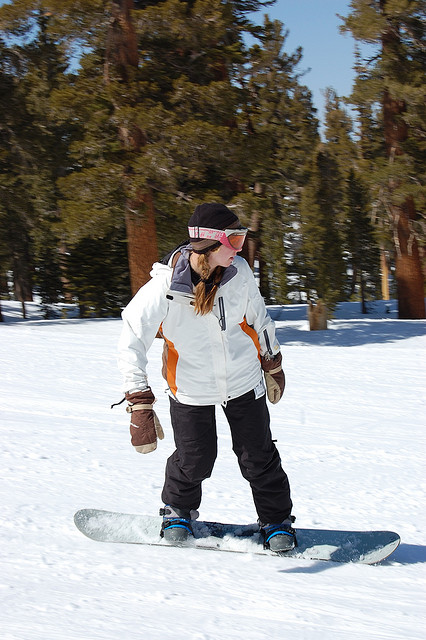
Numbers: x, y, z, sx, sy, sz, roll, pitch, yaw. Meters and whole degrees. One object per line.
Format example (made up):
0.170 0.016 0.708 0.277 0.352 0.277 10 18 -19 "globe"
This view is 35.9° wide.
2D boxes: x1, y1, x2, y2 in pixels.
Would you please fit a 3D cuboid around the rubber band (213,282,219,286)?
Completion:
0.016 -0.138 2.539 0.011 0.008 0.011 -42 12 47 "rubber band"

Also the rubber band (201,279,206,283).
-0.035 -0.149 2.490 0.014 0.003 0.012 -3 37 -42 "rubber band"

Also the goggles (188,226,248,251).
0.022 -0.327 2.543 0.157 0.057 0.124 -3 12 2 "goggles"

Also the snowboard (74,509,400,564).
0.072 0.948 2.859 1.122 0.075 0.167 3 -18 4 "snowboard"

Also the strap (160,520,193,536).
-0.164 0.898 2.841 0.103 0.078 0.039 -1 1 -5 "strap"

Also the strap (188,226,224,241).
-0.036 -0.323 2.504 0.100 0.034 0.068 5 1 4 "strap"

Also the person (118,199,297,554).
-0.020 0.274 2.732 0.756 1.406 0.556 -6 14 -13 "person"

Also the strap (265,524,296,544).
0.292 0.907 2.792 0.079 0.036 0.100 1 -10 -43 "strap"
